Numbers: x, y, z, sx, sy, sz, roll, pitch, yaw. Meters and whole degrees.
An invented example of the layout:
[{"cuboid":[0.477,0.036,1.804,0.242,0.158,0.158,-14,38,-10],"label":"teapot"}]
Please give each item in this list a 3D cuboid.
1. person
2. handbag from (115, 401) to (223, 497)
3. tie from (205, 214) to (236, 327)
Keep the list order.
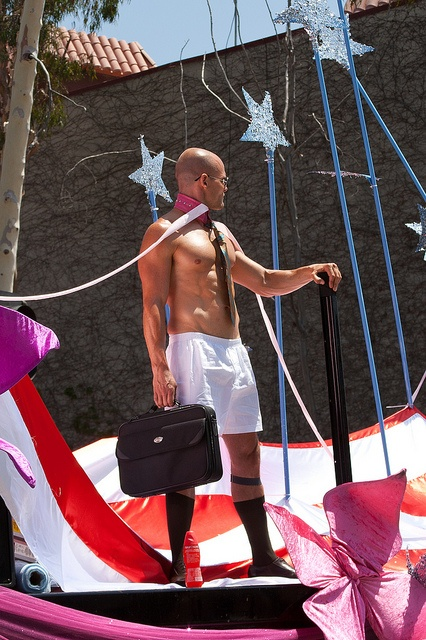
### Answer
[{"cuboid":[0.072,0.075,2.007,0.485,1.148,0.494,-8,-1,7],"label":"person"},{"cuboid":[-0.111,0.296,1.680,0.270,0.200,0.077,-8,-1,28],"label":"handbag"},{"cuboid":[0.025,-0.161,2.057,0.021,0.370,0.053,-20,-28,36],"label":"tie"}]
